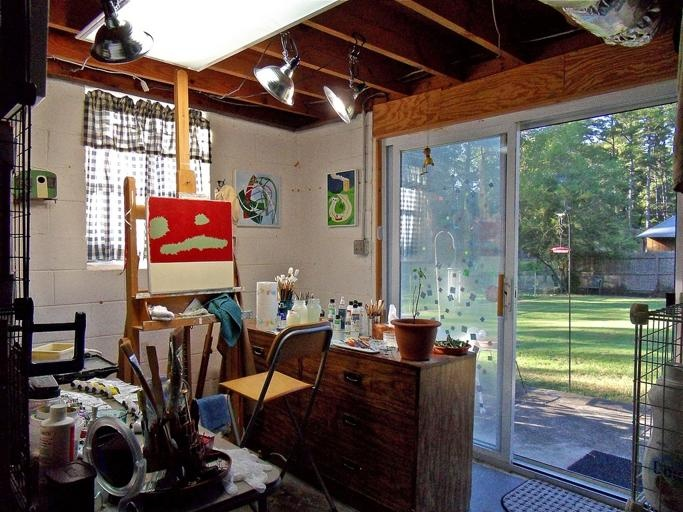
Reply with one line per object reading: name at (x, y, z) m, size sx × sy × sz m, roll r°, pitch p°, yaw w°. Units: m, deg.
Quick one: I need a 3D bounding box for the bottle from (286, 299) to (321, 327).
bottle at (-0.248, 0.391, 3.298) m, size 0.247 × 0.238 × 0.137 m, roll -2°, pitch 1°, yaw -19°

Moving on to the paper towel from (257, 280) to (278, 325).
paper towel at (-0.527, 0.337, 3.591) m, size 0.145 × 0.320 × 0.185 m, roll 2°, pitch 13°, yaw 20°

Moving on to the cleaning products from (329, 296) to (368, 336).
cleaning products at (0.062, 0.406, 3.400) m, size 0.242 × 0.331 × 0.307 m, roll -1°, pitch 1°, yaw 16°

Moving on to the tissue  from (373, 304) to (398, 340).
tissue  at (0.288, 0.448, 3.251) m, size 0.201 × 0.228 × 0.204 m, roll -2°, pitch -7°, yaw 39°

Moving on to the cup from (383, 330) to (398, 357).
cup at (0.290, 0.530, 2.979) m, size 0.091 × 0.103 × 0.091 m, roll 1°, pitch 5°, yaw 0°

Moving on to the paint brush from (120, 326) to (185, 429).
paint brush at (-0.572, 0.385, 1.508) m, size 0.186 × 0.284 × 0.124 m, roll -6°, pitch 13°, yaw -16°

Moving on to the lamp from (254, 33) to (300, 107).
lamp at (-0.387, -1.159, 3.040) m, size 0.279 × 0.450 × 0.782 m, roll -4°, pitch 12°, yaw -5°

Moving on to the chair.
chair at (-0.360, 0.930, 2.970) m, size 0.662 × 1.254 × 0.983 m, roll -3°, pitch 12°, yaw -3°
